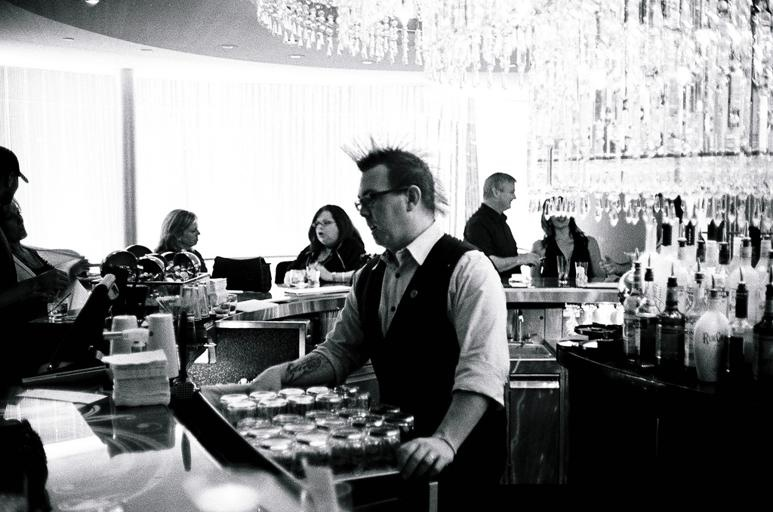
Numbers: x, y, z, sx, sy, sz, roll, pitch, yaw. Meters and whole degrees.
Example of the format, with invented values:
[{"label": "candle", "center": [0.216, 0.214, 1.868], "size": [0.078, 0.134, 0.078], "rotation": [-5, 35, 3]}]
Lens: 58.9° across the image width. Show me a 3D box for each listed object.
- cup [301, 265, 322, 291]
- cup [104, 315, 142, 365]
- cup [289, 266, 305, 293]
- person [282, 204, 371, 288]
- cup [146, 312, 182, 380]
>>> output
[{"label": "cup", "center": [-0.653, 0.201, 6.148], "size": [0.178, 0.223, 0.177], "rotation": [0, -7, 0]}, {"label": "cup", "center": [-1.187, 0.360, 3.083], "size": [0.173, 0.235, 0.166], "rotation": [2, -5, 0]}, {"label": "cup", "center": [-0.751, 0.215, 6.018], "size": [0.151, 0.173, 0.153], "rotation": [-1, -3, 0]}, {"label": "person", "center": [-0.521, -0.066, 6.807], "size": [0.722, 0.824, 0.999], "rotation": [3, -3, -36]}, {"label": "cup", "center": [-1.012, 0.411, 3.112], "size": [0.133, 0.274, 0.176], "rotation": [-3, 10, -20]}]
